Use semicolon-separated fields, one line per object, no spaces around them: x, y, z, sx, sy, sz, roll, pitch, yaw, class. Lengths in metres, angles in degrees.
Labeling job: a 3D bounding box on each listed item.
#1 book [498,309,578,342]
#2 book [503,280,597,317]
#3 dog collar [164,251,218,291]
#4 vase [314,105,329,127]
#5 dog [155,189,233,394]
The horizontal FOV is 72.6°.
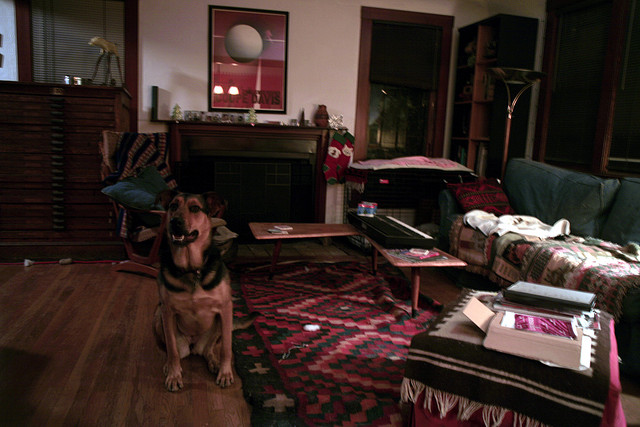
1.135;0.577;2.274;0.234;0.038;0.167;5;11;25;book
1.272;0.468;2.415;0.270;0.060;0.270;10;6;20;book
-0.771;0.344;2.541;0.203;0.090;0.247;3;27;-8;dog collar
0.020;-1.245;5.562;0.182;0.270;0.261;-1;14;-4;vase
-0.762;0.471;2.639;0.425;1.176;0.299;-3;14;-13;dog
